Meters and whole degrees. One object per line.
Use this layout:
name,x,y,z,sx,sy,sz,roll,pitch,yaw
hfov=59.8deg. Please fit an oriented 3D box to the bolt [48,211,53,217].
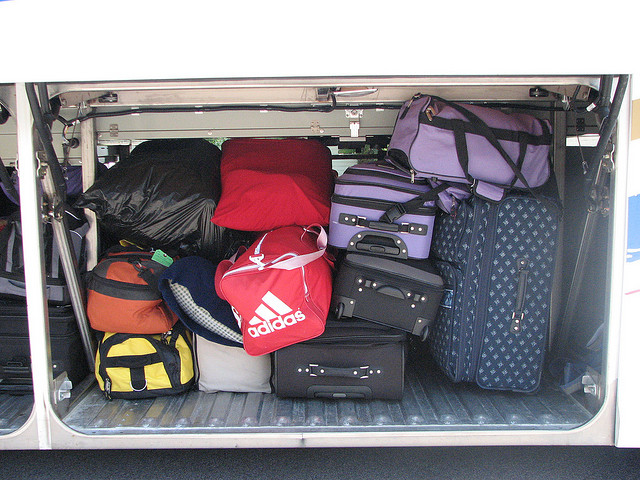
bolt,-1.217,-0.117,2.510,0.014,0.029,0.015,-13,21,-33

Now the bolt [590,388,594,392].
bolt,1.219,0.668,2.484,0.015,0.012,0.023,-7,3,-23

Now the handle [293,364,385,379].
handle,0.093,0.643,2.712,0.448,0.073,0.036,-1,17,1

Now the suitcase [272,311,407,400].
suitcase,0.100,0.541,2.919,0.746,0.372,0.557,1,9,1

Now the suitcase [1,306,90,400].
suitcase,-1.368,0.547,2.728,0.521,0.313,0.268,2,12,19

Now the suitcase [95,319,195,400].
suitcase,-0.891,0.599,2.813,0.388,0.347,0.396,3,-13,-29

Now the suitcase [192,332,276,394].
suitcase,-0.420,0.608,2.755,0.396,0.305,0.132,0,-6,-1

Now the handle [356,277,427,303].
handle,0.361,0.247,2.706,0.318,0.102,0.025,3,18,13

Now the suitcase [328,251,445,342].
suitcase,0.327,0.253,2.913,0.600,0.373,0.440,15,15,-4

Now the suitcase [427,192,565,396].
suitcase,1.302,0.243,2.877,0.835,1.032,0.641,-2,9,-16

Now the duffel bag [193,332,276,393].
duffel bag,-0.417,0.607,2.753,0.387,0.302,0.128,0,-9,-2

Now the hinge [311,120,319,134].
hinge,-0.028,-0.658,3.242,0.046,0.078,0.017,-1,18,-1

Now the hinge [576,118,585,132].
hinge,1.543,-0.679,3.285,0.075,0.066,0.017,-2,7,-9

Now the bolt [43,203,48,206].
bolt,-1.238,-0.161,2.497,0.014,0.012,0.003,0,-4,-16

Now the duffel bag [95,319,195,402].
duffel bag,-0.853,0.585,2.946,0.491,0.328,0.461,0,21,-5

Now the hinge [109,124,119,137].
hinge,-1.210,-0.639,3.256,0.051,0.072,0.009,0,18,2

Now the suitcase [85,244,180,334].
suitcase,-0.968,0.238,2.917,0.473,0.391,0.458,-9,24,-24

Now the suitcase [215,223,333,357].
suitcase,-0.179,0.301,2.833,0.686,0.595,0.607,4,20,2

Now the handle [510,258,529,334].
handle,0.959,0.269,2.662,0.054,0.361,0.098,6,19,22

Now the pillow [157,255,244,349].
pillow,-0.572,0.262,2.910,0.564,0.408,0.491,1,20,-8

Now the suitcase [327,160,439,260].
suitcase,0.264,-0.184,2.967,0.616,0.427,0.544,1,21,-1

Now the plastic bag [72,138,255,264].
plastic bag,-0.920,-0.296,3.268,0.890,0.677,0.951,-1,26,-31

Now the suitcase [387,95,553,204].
suitcase,0.773,-0.397,2.796,0.718,0.510,0.260,11,-25,-5

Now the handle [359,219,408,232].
handle,0.320,-0.062,2.725,0.296,0.047,0.068,6,-3,6

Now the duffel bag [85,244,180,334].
duffel bag,-0.952,0.280,2.850,0.454,0.286,0.419,5,29,-10
